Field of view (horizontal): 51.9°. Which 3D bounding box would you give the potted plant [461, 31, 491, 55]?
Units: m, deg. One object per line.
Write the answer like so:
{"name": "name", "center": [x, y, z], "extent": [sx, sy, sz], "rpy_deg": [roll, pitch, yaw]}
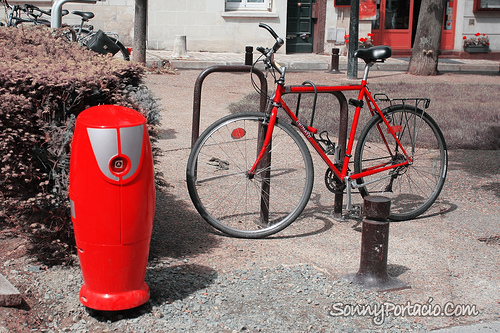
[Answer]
{"name": "potted plant", "center": [9.674, -5.359, 22.077], "extent": [1.187, 0.922, 0.476], "rpy_deg": [-4, 14, -13]}
